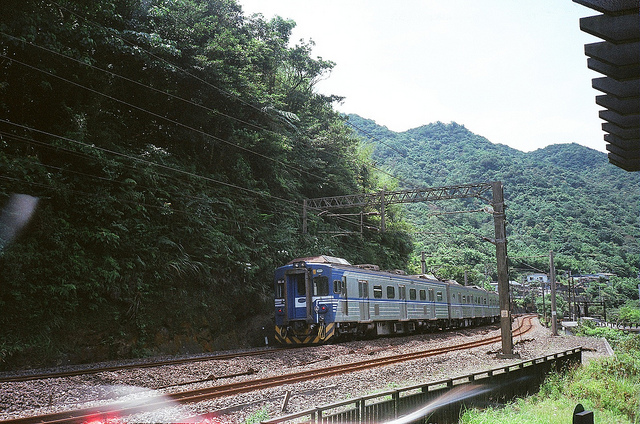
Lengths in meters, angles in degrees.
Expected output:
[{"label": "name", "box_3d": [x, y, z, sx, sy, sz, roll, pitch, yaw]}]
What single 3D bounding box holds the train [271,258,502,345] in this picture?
[{"label": "train", "box_3d": [7.686, 6.797, 32.713, 3.114, 4.986, 27.953, -14, -19, 36]}]
